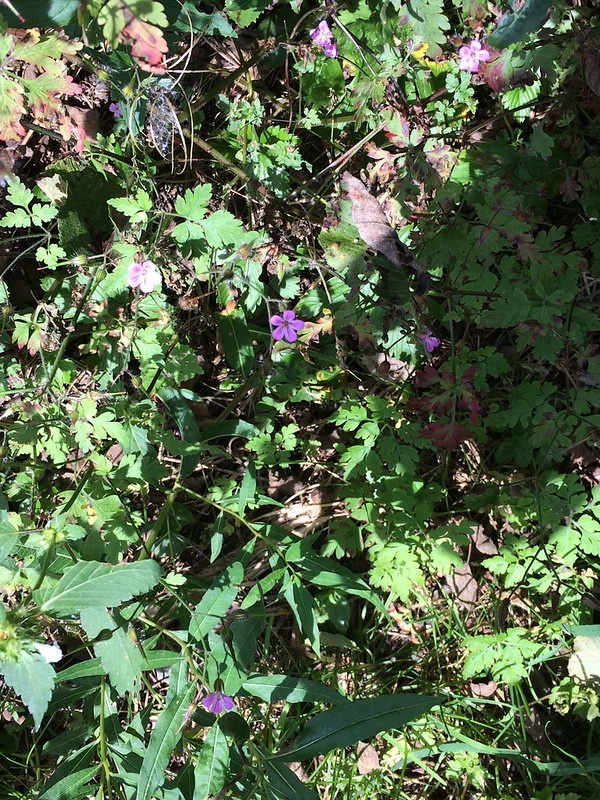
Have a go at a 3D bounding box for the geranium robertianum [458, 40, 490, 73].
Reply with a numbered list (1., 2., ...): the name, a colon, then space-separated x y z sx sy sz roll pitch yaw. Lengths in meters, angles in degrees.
1. geranium robertianum: 0.510 -1.010 1.921 0.104 0.094 0.028 3 -10 -4
